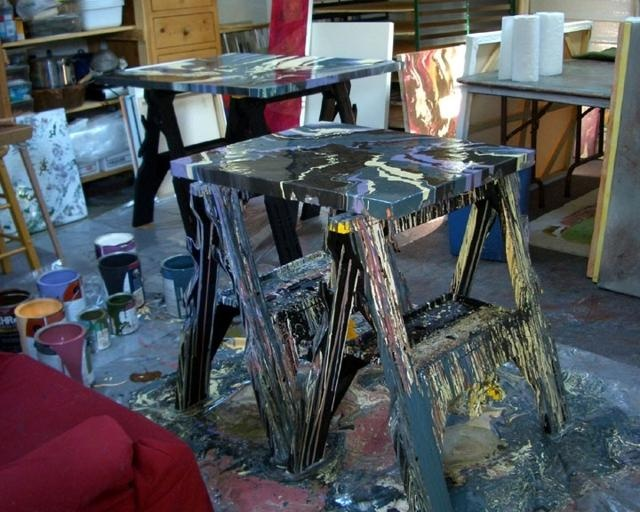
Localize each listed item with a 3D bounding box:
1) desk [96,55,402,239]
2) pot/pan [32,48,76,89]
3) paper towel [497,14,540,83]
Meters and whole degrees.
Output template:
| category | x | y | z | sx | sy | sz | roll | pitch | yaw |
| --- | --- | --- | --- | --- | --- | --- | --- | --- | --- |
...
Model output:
| category | x | y | z | sx | sy | sz | roll | pitch | yaw |
| --- | --- | --- | --- | --- | --- | --- | --- | --- | --- |
| desk | -0.352 | -0.577 | 3.083 | 1.464 | 0.898 | 1.396 | 16 | 32 | 33 |
| pot/pan | -1.953 | -1.367 | 3.586 | 0.364 | 0.217 | 0.273 | -16 | 25 | -37 |
| paper towel | 1.120 | -1.145 | 2.724 | 0.222 | 0.344 | 0.281 | 4 | 26 | 17 |
